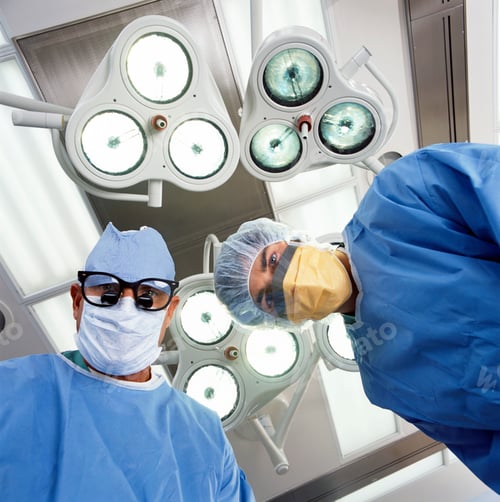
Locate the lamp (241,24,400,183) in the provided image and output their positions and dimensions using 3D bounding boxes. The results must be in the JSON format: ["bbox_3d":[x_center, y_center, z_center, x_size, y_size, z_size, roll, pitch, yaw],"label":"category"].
[{"bbox_3d":[0.218,-0.463,1.541,0.538,0.196,0.473,-6,-58,-1],"label":"lamp"}]

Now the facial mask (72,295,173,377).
[{"bbox_3d":[-0.421,0.271,1.518,0.249,0.279,0.173,8,-100,-15],"label":"facial mask"}]

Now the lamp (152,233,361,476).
[{"bbox_3d":[-0.052,0.437,2.090,0.833,0.394,1.053,-10,-87,-5],"label":"lamp"}]
